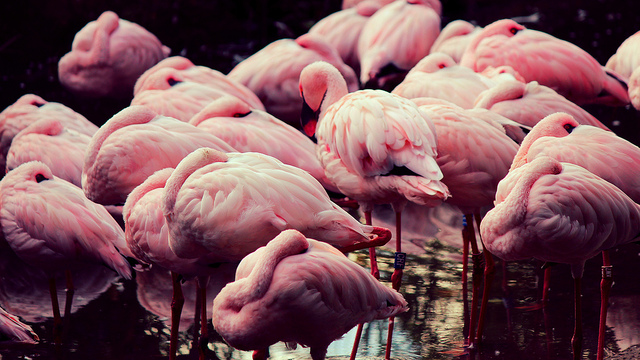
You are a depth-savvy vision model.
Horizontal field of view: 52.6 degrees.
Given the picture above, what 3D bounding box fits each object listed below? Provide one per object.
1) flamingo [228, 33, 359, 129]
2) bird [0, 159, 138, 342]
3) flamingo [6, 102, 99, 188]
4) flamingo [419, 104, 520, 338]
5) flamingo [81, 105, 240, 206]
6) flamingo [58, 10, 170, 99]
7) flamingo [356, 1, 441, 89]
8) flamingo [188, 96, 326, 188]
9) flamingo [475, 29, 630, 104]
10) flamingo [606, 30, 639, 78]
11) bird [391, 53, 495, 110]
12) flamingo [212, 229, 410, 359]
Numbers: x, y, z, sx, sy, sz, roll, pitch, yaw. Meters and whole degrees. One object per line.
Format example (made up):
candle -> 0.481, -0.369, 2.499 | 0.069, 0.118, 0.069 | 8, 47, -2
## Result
flamingo -> -0.332, -1.195, 7.844 | 1.405, 1.039, 0.973 | 9, -8, -9
bird -> -2.085, 0.566, 5.296 | 1.018, 1.475, 0.330 | -1, -18, -16
flamingo -> -2.465, -0.293, 5.910 | 0.690, 0.803, 1.714 | 1, 2, -41
flamingo -> 0.677, 0.141, 6.142 | 1.976, 1.884, 0.932 | -1, -7, 5
flamingo -> -1.565, -0.229, 5.426 | 0.983, 0.879, 2.454 | 0, 2, -41
flamingo -> -2.712, -1.723, 8.604 | 1.402, 0.923, 0.968 | -7, 23, 16
flamingo -> 0.951, -1.801, 8.718 | 1.087, 1.177, 1.363 | 2, 2, -8
flamingo -> -0.480, -0.439, 6.001 | 1.070, 0.483, 0.508 | 18, 40, 8
flamingo -> 2.259, -1.184, 6.737 | 1.559, 0.835, 0.680 | -8, 20, 16
flamingo -> 3.295, -1.373, 7.074 | 0.408, 0.329, 0.494 | -7, 25, 13
bird -> 1.166, -0.892, 6.052 | 0.813, 0.372, 0.566 | -1, -4, 23
flamingo -> -0.095, 0.787, 4.496 | 1.262, 0.834, 0.384 | -1, -18, -13
